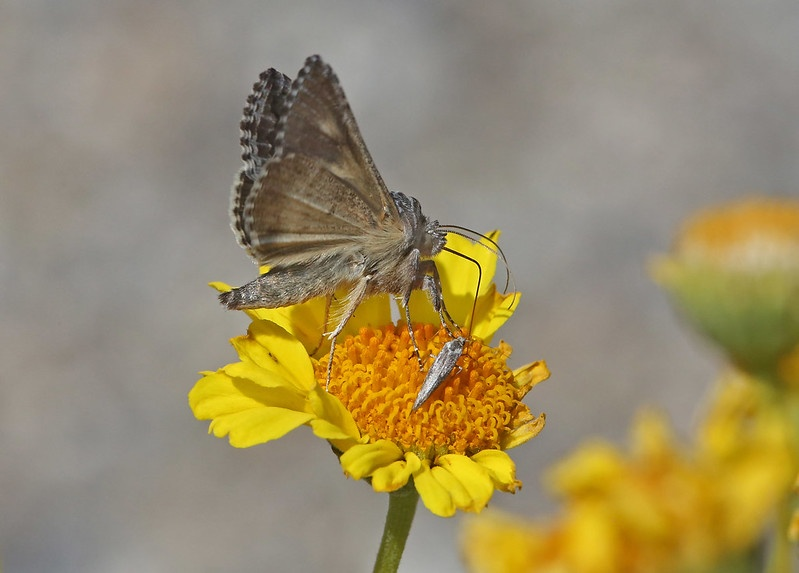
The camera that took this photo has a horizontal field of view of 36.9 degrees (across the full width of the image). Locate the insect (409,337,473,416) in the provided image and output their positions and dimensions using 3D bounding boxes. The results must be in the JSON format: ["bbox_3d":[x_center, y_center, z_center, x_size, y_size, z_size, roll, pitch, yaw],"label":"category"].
[{"bbox_3d":[0.132,0.271,3.823,0.212,0.214,0.088,-8,-9,-10],"label":"insect"}]
